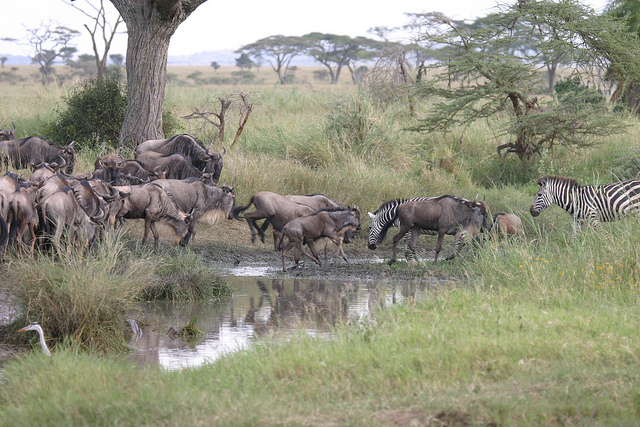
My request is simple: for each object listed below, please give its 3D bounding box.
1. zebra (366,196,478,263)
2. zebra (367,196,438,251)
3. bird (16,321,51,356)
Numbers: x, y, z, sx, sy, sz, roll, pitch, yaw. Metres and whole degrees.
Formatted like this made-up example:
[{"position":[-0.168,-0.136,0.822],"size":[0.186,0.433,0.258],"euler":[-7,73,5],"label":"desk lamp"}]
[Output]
[{"position":[2.622,0.373,21.808],"size":[1.871,1.813,3.749],"euler":[2,5,-17],"label":"zebra"},{"position":[1.833,0.319,22.414],"size":[0.913,1.434,0.289],"euler":[5,5,27],"label":"zebra"},{"position":[-4.837,2.143,13.747],"size":[0.405,0.665,1.299],"euler":[2,5,-20],"label":"bird"}]
